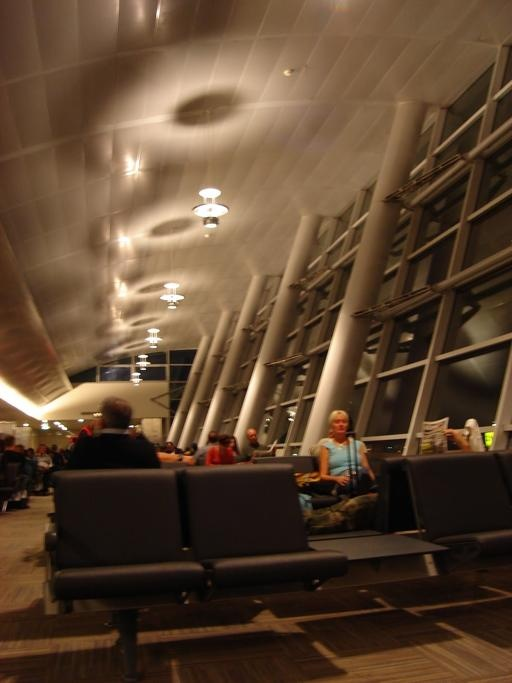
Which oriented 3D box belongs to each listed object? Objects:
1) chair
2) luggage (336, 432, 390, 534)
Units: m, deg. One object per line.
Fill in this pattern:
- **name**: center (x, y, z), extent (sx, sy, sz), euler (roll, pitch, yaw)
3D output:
- **chair**: center (-0.094, 1.011, 2.417), extent (1.655, 0.817, 0.600), euler (3, -16, -21)
- **luggage**: center (0.738, 0.974, 3.518), extent (0.267, 0.651, 0.355), euler (-15, -2, -2)
